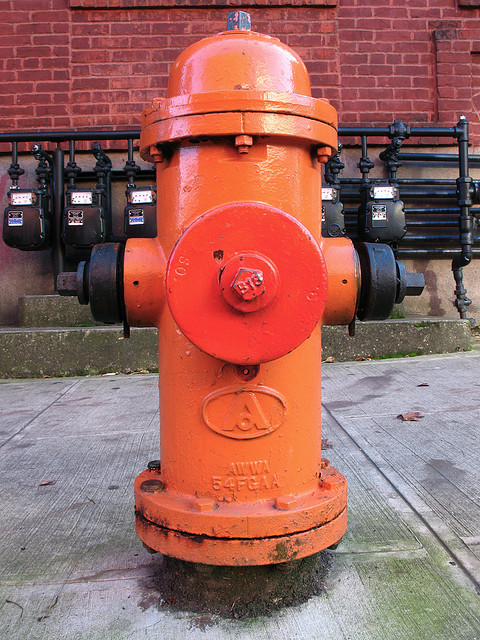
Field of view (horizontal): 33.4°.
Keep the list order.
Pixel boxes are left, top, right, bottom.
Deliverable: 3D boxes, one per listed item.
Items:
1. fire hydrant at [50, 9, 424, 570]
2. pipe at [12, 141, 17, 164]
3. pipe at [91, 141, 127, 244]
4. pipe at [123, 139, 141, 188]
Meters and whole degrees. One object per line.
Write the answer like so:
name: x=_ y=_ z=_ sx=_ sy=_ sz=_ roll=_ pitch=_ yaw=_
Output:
fire hydrant: x=-0.004 y=-0.064 z=2.283 sx=0.908 sy=1.618 sz=0.591 roll=1 pitch=11 yaw=13
pipe: x=-1.645 y=-1.217 z=5.828 sx=0.030 sy=0.161 sz=0.103 roll=-5 pitch=11 yaw=-17
pipe: x=-0.993 y=-0.954 z=5.982 sx=0.269 sy=1.132 sz=0.261 roll=-1 pitch=17 yaw=-8
pipe: x=-0.811 y=-1.148 z=5.829 sx=0.127 sy=0.368 sz=0.124 roll=-7 pitch=10 yaw=-28
